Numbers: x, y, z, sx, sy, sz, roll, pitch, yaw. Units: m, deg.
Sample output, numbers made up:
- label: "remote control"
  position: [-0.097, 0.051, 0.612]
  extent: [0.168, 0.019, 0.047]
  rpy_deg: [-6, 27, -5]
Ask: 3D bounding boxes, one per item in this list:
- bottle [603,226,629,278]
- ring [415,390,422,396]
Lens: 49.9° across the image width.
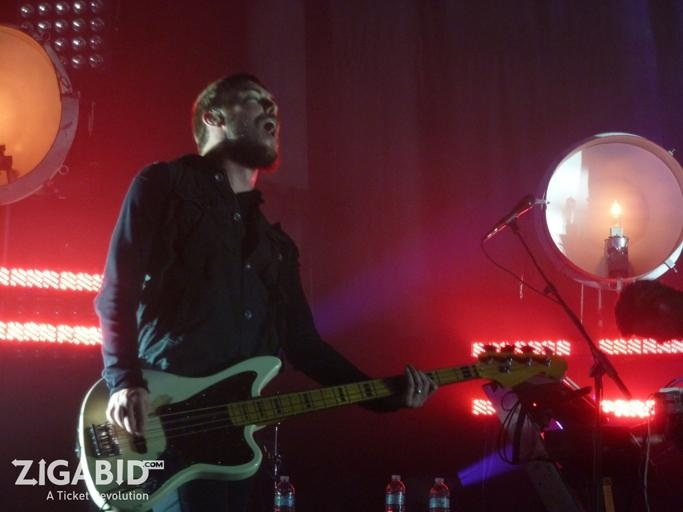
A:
- label: "bottle"
  position: [1.887, -0.019, 5.037]
  extent: [0.160, 0.332, 0.158]
  rpy_deg: [-2, -20, -1]
- label: "ring"
  position: [0.408, 0.733, 3.953]
  extent: [0.031, 0.024, 0.008]
  rpy_deg: [-23, -1, 9]
